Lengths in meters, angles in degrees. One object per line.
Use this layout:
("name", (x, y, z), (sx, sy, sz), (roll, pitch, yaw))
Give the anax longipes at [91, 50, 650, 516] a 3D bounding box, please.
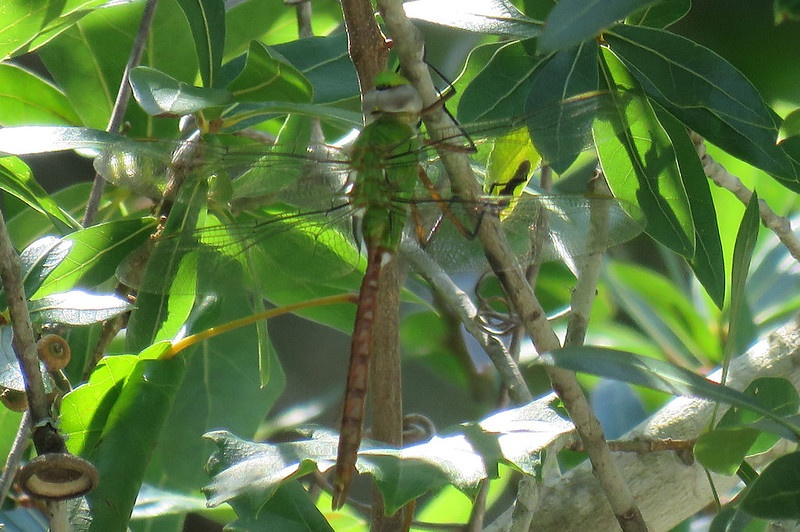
("anax longipes", (-0.063, 0.013, 1.484), (0.672, 0.752, 0.217), (4, -11, 2))
